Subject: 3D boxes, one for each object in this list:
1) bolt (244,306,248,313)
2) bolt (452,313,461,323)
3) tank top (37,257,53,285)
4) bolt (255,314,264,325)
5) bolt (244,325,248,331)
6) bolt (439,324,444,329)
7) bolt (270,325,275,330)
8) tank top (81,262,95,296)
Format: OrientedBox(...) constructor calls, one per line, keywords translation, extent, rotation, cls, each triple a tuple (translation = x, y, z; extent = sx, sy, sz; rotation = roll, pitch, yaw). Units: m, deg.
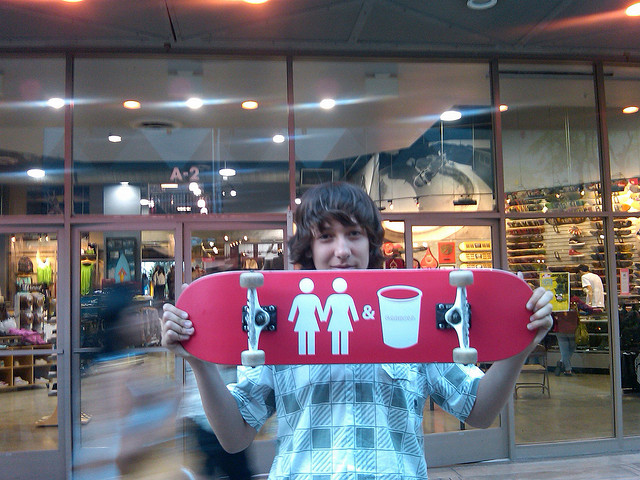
OrientedBox(translation=(-0.461, 0.429, 3.637), extent=(0.017, 0.024, 0.006), rotation=(-3, -1, 12), cls="bolt")
OrientedBox(translation=(0.831, 0.476, 3.601), extent=(0.043, 0.052, 0.005), rotation=(-3, -1, 14), cls="bolt")
OrientedBox(translation=(-3.074, 0.352, 6.550), extent=(0.186, 0.292, 0.041), rotation=(-3, -1, 15), cls="tank top")
OrientedBox(translation=(-0.370, 0.483, 3.598), extent=(0.049, 0.044, 0.006), rotation=(-3, -1, 6), cls="bolt")
OrientedBox(translation=(-0.461, 0.542, 3.638), extent=(0.020, 0.026, 0.006), rotation=(-4, -1, 24), cls="bolt")
OrientedBox(translation=(0.754, 0.533, 3.653), extent=(0.036, 0.026, 0.009), rotation=(3, -2, 8), cls="bolt")
OrientedBox(translation=(-0.297, 0.538, 3.633), extent=(0.027, 0.021, 0.003), rotation=(-3, -1, -2), cls="bolt")
OrientedBox(translation=(-2.596, 0.436, 6.568), extent=(0.144, 0.345, 0.036), rotation=(-3, -1, -2), cls="tank top")
